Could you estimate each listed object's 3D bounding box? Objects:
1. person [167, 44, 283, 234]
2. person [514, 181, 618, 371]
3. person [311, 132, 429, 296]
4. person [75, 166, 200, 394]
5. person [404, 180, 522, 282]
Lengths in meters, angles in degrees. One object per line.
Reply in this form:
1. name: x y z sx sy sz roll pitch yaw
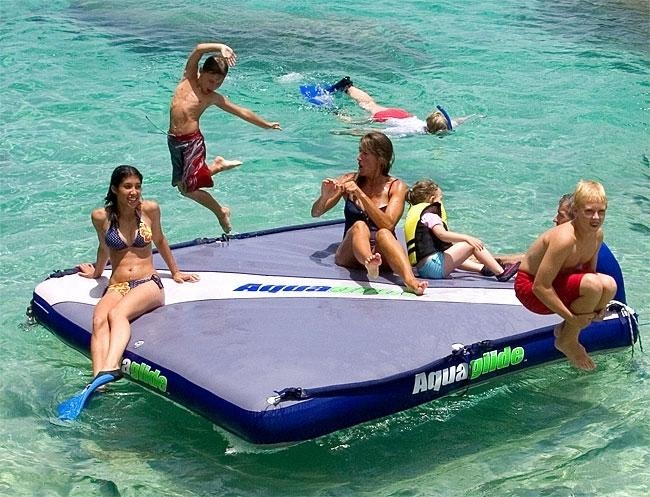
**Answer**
1. person: -1.380 -1.249 7.875 1.003 2.199 0.719 8 28 19
2. person: 1.855 0.066 5.157 0.624 1.211 0.431 -5 27 -6
3. person: 0.436 -0.413 6.563 0.939 1.334 1.355 -7 24 -10
4. person: -1.650 0.074 5.882 0.972 1.524 1.414 -7 24 -11
5. person: 1.388 -0.165 6.953 1.353 0.884 0.770 4 -1 -8
